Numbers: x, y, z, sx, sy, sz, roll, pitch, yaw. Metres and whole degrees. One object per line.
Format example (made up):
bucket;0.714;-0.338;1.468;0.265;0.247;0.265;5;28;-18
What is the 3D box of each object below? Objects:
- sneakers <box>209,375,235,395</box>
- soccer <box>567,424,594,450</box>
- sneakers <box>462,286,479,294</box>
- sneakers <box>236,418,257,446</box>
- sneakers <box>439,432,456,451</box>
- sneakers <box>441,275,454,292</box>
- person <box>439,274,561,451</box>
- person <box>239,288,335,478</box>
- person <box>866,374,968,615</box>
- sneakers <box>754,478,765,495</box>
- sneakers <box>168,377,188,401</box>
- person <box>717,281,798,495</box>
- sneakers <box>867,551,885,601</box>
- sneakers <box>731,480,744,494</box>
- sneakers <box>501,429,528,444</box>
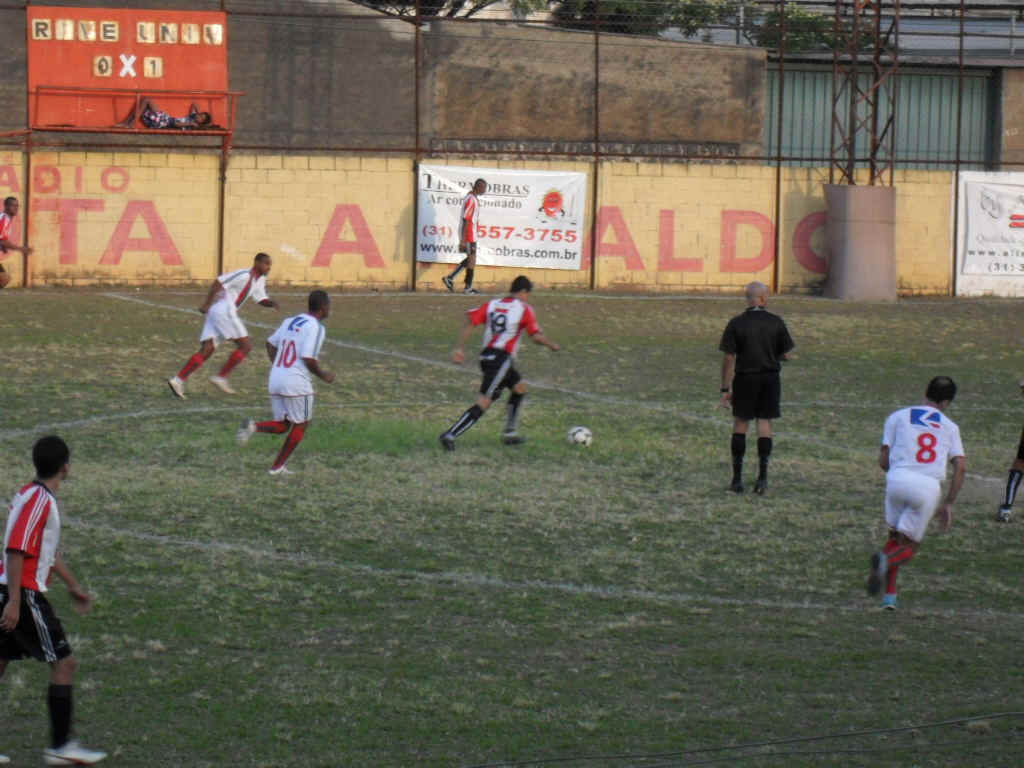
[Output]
sneakers;-4.388;0.021;38.909;0.462;0.209;0.174;38;28;-34
soccer;1.024;0.748;36.880;0.309;0.291;0.301;14;-8;-25
sneakers;-0.779;-1.840;49.096;0.178;0.210;0.512;3;-1;5
sneakers;-3.698;0.599;35.935;0.184;0.200;0.485;16;47;14
sneakers;-0.900;0.784;36.629;0.218;0.258;0.277;0;5;-2
sneakers;-1.199;-2.000;48.864;0.152;0.116;0.348;-12;38;-16
person;-0.267;-0.335;36.741;1.436;2.453;1.165;-3;6;-33
person;-3.095;-0.054;35.564;1.163;2.527;1.396;0;5;-6
person;5.159;1.387;32.763;1.311;2.965;0.617;-1;5;-19
sneakers;3.492;1.405;35.384;0.216;0.201;0.132;-1;4;8
sneakers;-5.024;0.041;38.307;0.199;0.411;0.154;-9;39;3
person;3.406;0.034;35.459;0.959;2.898;0.455;1;5;4
sneakers;4.709;2.390;32.481;0.239;0.562;0.201;1;5;-1
sneakers;3.168;1.397;35.396;0.203;0.181;0.120;0;6;6
sneakers;0.054;0.752;36.922;0.388;0.251;0.143;-2;8;-7
